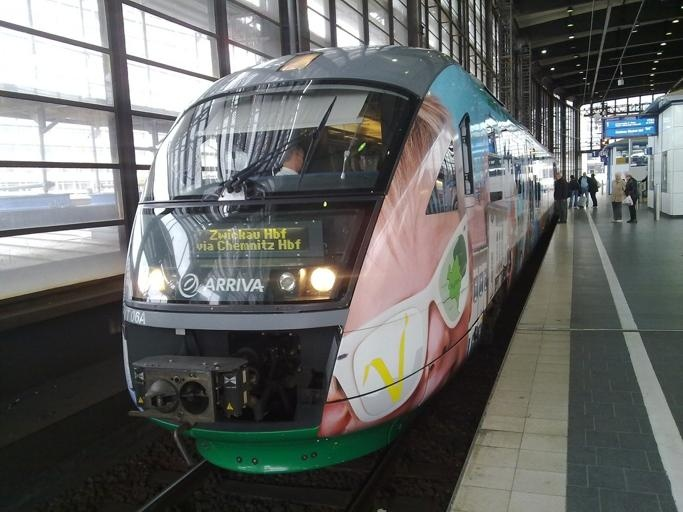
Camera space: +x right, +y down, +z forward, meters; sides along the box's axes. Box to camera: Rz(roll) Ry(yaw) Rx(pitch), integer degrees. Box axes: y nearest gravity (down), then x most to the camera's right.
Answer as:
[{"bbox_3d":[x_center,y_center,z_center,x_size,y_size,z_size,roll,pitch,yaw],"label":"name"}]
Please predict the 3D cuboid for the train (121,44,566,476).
[{"bbox_3d":[-0.007,-0.186,4.594,3.734,3.462,1.784,-10,9,-40],"label":"train"}]

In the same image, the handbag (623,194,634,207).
[{"bbox_3d":[10.582,-2.049,18.579,0.274,0.378,0.580,-4,7,-3],"label":"handbag"}]
